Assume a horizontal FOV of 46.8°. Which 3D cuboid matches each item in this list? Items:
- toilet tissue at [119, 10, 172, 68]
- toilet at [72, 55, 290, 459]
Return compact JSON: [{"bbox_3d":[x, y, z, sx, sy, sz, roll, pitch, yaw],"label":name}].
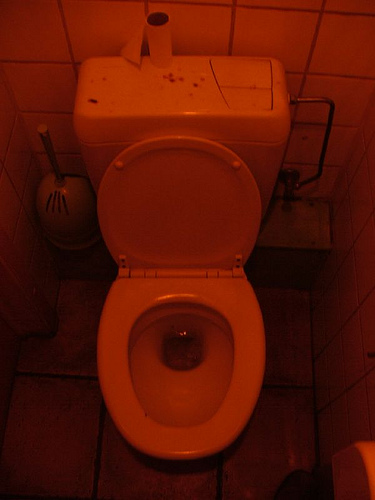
[{"bbox_3d":[-0.089,-0.439,0.892,0.111,0.115,0.126,-1,55,-1],"label":"toilet tissue"},{"bbox_3d":[-0.014,0.024,1.036,0.339,0.815,0.896,1,72,2],"label":"toilet"}]
